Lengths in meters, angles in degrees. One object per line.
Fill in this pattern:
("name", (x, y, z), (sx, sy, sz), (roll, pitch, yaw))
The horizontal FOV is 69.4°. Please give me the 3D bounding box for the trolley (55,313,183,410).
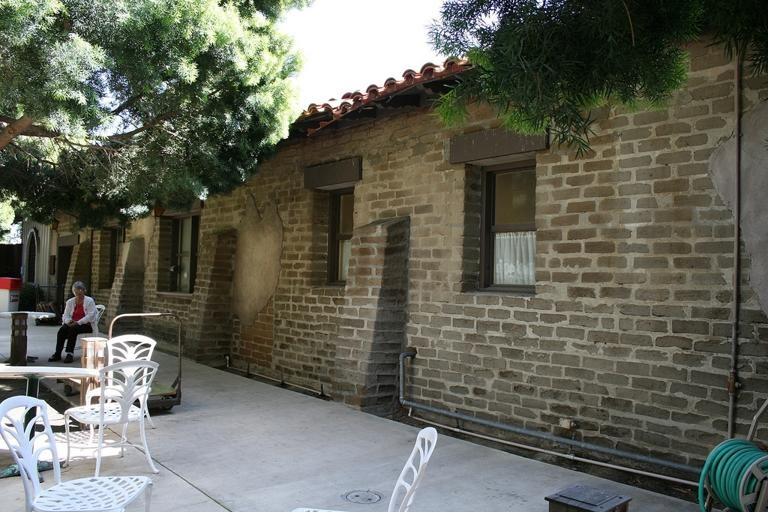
("trolley", (-3.258, 1.306, 7.197), (1.041, 1.465, 1.315), (4, -10, -1))
